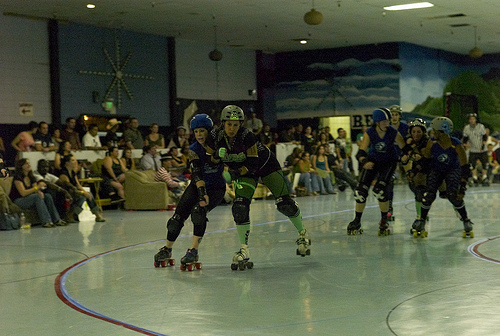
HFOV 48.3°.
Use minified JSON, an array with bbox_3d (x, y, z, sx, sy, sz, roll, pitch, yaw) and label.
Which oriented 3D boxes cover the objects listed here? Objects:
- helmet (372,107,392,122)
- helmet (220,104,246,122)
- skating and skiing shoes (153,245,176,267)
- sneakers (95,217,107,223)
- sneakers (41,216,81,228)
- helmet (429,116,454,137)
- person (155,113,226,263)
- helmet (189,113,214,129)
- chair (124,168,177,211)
[{"bbox_3d":[2.290,-0.933,9.736,0.310,0.236,0.220,-4,12,11],"label":"helmet"},{"bbox_3d":[-0.228,-0.758,7.808,0.223,0.276,0.245,0,12,-15],"label":"helmet"},{"bbox_3d":[-1.291,1.316,8.299,0.233,0.276,0.297,-1,-1,36],"label":"skating and skiing shoes"},{"bbox_3d":[-3.308,1.138,12.332,0.191,0.080,0.115,4,1,14],"label":"sneakers"},{"bbox_3d":[-4.051,1.133,11.809,0.632,0.257,0.186,-6,2,-8],"label":"sneakers"},{"bbox_3d":[3.353,-0.768,9.737,0.406,0.314,0.309,23,2,16],"label":"helmet"},{"bbox_3d":[-0.868,0.349,8.120,1.015,2.236,0.590,-2,10,-4],"label":"person"},{"bbox_3d":[-0.711,-0.714,8.150,0.322,0.229,0.296,1,-6,-17],"label":"helmet"},{"bbox_3d":[-2.601,0.637,14.441,0.982,1.062,1.626,0,0,1],"label":"chair"}]
